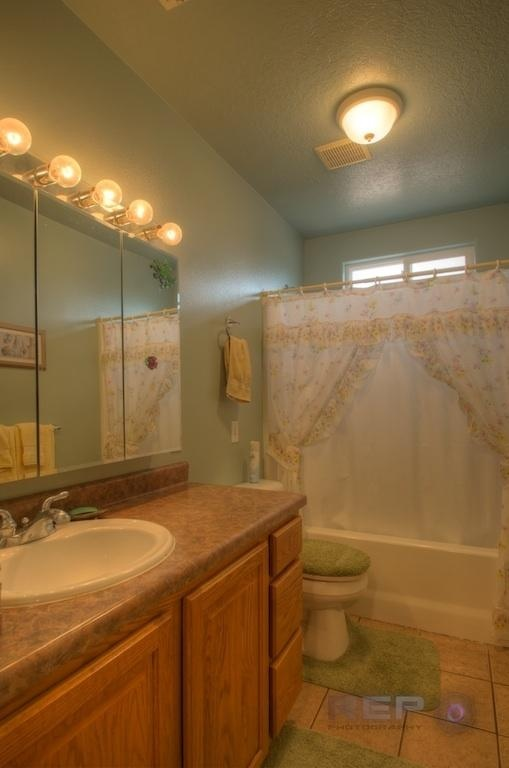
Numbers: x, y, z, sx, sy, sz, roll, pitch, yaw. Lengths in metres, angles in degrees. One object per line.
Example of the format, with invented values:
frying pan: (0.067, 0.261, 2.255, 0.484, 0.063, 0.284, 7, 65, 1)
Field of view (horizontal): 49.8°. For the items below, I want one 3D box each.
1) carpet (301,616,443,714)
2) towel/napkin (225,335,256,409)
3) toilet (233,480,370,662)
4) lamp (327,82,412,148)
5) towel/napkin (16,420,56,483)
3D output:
carpet: (0.457, 1.073, 2.134, 0.509, 0.016, 0.469, 0, 4, 21)
towel/napkin: (-0.077, -0.067, 2.452, 0.137, 0.288, 0.086, -4, 4, -28)
toilet: (0.287, 0.829, 2.457, 0.363, 0.755, 0.684, 9, -1, 34)
lamp: (0.454, -1.010, 2.112, 0.172, 0.107, 0.171, 7, -14, -39)
towel/napkin: (-0.575, 0.170, 1.458, 0.012, 0.147, 0.116, 0, 4, 25)
